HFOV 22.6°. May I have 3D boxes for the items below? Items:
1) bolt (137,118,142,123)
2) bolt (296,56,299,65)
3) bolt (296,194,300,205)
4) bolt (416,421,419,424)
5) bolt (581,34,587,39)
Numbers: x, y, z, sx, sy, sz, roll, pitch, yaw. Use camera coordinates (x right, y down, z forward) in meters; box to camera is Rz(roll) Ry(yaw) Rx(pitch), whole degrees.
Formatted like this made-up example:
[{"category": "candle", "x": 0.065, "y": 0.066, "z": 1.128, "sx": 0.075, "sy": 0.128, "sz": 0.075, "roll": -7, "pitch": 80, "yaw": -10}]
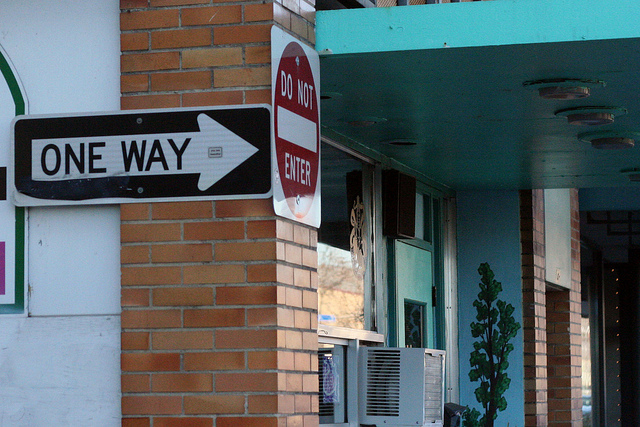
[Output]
[{"category": "bolt", "x": -1.189, "y": -0.617, "z": 10.655, "sx": 0.031, "sy": 0.029, "sz": 0.007, "roll": -2, "pitch": 3, "yaw": -3}, {"category": "bolt", "x": -0.143, "y": -1.032, "z": 10.831, "sx": 0.002, "sy": 0.049, "sz": 0.030, "roll": -8, "pitch": -14, "yaw": 36}, {"category": "bolt", "x": -0.136, "y": -0.095, "z": 10.727, "sx": 0.009, "sy": 0.067, "sz": 0.033, "roll": -5, "pitch": -12, "yaw": 22}, {"category": "bolt", "x": 0.743, "y": 1.579, "z": 12.126, "sx": 0.018, "sy": 0.015, "sz": 0.004, "roll": 1, "pitch": -4, "yaw": 30}, {"category": "bolt", "x": 1.795, "y": -1.202, "z": 10.895, "sx": 0.038, "sy": 0.029, "sz": 0.009, "roll": 0, "pitch": -11, "yaw": 1}]
